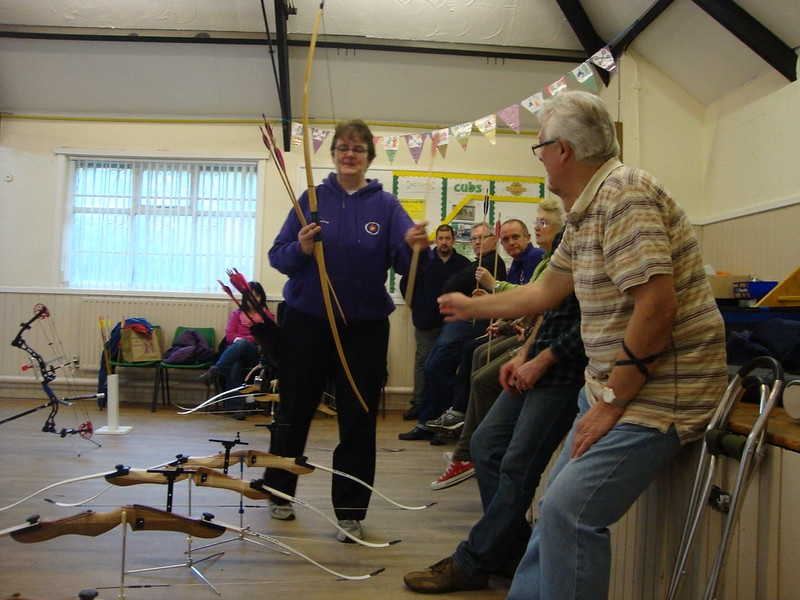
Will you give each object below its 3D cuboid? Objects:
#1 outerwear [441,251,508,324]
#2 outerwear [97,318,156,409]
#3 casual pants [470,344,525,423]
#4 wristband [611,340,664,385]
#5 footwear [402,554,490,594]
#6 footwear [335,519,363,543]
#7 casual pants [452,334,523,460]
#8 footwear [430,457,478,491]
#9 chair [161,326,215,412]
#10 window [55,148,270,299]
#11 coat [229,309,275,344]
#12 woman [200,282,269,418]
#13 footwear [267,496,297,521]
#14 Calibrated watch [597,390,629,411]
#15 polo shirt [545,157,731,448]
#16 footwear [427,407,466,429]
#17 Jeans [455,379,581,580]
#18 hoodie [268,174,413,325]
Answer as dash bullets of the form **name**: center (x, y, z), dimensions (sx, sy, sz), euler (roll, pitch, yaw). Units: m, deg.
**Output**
- **outerwear**: center (0.580, -0.203, 4.690), dimensions (0.321, 0.403, 0.232), euler (-25, 31, -3)
- **outerwear**: center (-2.343, 0.507, 5.933), dimensions (0.402, 0.612, 0.427), euler (-2, 20, -32)
- **casual pants**: center (0.485, 0.441, 3.496), dimensions (0.248, 0.455, 0.119), euler (1, 34, -21)
- **wristband**: center (0.732, 0.188, 2.108), dimensions (0.124, 0.067, 0.122), euler (19, 4, -13)
- **footwear**: center (0.171, 1.100, 2.788), dimensions (0.369, 0.153, 0.134), euler (3, -6, -1)
- **footwear**: center (-0.216, 1.027, 3.027), dimensions (0.084, 0.081, 0.192), euler (2, -11, -4)
- **casual pants**: center (0.537, 0.495, 3.536), dimensions (0.386, 0.729, 0.199), euler (10, 7, 0)
- **footwear**: center (0.325, 0.904, 3.530), dimensions (0.345, 0.144, 0.116), euler (-15, -5, 30)
- **chair**: center (-1.824, 0.561, 6.018), dimensions (0.434, 0.602, 0.450), euler (3, 13, 31)
- **window**: center (-2.284, -0.713, 6.327), dimensions (1.448, 0.996, 0.173), euler (1, -2, -2)
- **coat**: center (-0.926, 0.174, 4.171), dimensions (0.297, 0.283, 0.123), euler (5, 16, 19)
- **woman**: center (-1.404, 0.426, 5.938), dimensions (0.457, 1.154, 0.693), euler (4, -5, 22)
- **footwear**: center (-0.581, 1.008, 3.330), dimensions (0.067, 0.079, 0.183), euler (2, 3, -23)
- **Calibrated watch**: center (0.663, 0.308, 2.130), dimensions (0.079, 0.051, 0.085), euler (13, 6, -24)
- **polo shirt**: center (0.845, 0.001, 2.377), dimensions (0.487, 0.877, 0.752), euler (-6, 4, -4)
- **footwear**: center (0.321, 0.789, 4.496), dimensions (0.304, 0.133, 0.108), euler (1, -10, 1)
- **Jeans**: center (0.429, 0.658, 2.720), dimensions (0.279, 0.863, 0.311), euler (12, 6, -33)
- **hoodie**: center (-0.271, -0.256, 3.183), dimensions (0.697, 0.626, 0.434), euler (5, 14, 2)
